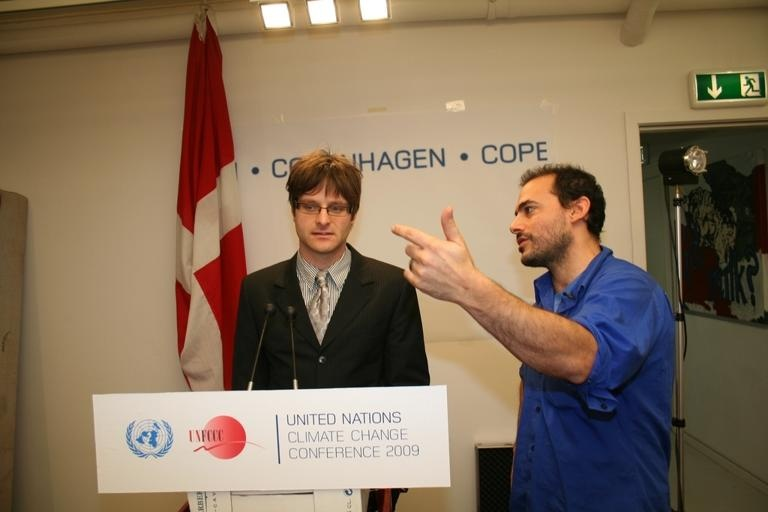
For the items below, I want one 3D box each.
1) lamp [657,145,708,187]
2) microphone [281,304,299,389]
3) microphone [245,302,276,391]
[{"bbox_3d":[2.047,-0.620,4.374,0.186,0.276,0.244,0,4,-28],"label":"lamp"},{"bbox_3d":[-0.539,0.499,3.678,0.079,0.612,0.092,1,1,2],"label":"microphone"},{"bbox_3d":[-0.725,0.555,3.779,0.068,0.518,0.076,6,9,-17],"label":"microphone"}]
